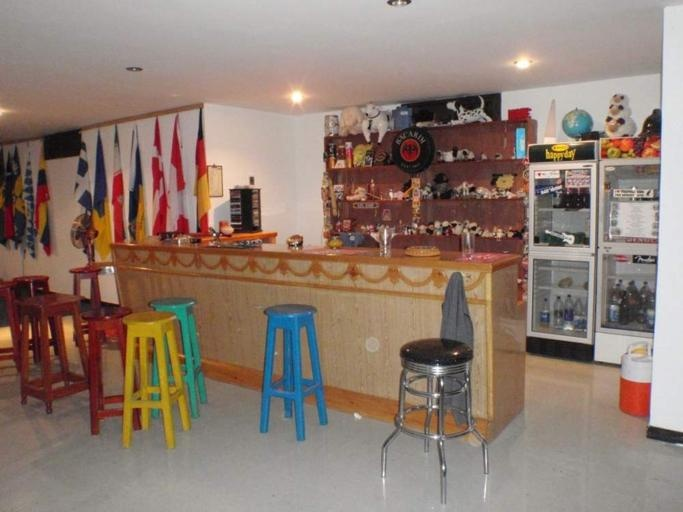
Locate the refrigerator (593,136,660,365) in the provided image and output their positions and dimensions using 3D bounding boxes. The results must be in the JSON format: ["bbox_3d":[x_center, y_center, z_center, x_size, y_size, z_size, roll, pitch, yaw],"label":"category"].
[{"bbox_3d":[2.883,-0.004,5.644,0.627,2.235,0.469,5,14,24],"label":"refrigerator"}]

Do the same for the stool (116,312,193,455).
[{"bbox_3d":[-1.598,0.887,4.679,0.533,0.972,1.269,-5,13,-17],"label":"stool"}]

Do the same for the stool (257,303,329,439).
[{"bbox_3d":[-0.411,0.878,4.550,0.568,0.981,0.747,-1,13,-3],"label":"stool"}]

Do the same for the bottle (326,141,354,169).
[{"bbox_3d":[-0.030,-1.345,7.786,0.400,0.394,0.192,0,-3,15],"label":"bottle"}]

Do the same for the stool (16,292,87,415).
[{"bbox_3d":[-2.558,0.840,4.926,0.630,0.884,0.640,-3,5,-2],"label":"stool"}]

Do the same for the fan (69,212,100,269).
[{"bbox_3d":[-3.468,-0.178,7.487,0.299,0.781,1.829,-7,14,-23],"label":"fan"}]

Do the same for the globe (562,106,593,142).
[{"bbox_3d":[2.543,-1.362,6.033,0.335,0.395,0.325,-2,12,4],"label":"globe"}]

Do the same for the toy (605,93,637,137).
[{"bbox_3d":[2.845,-1.360,5.632,0.275,0.409,0.284,6,14,27],"label":"toy"}]

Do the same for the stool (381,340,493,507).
[{"bbox_3d":[0.666,1.053,3.953,0.787,0.907,0.891,3,13,16],"label":"stool"}]
